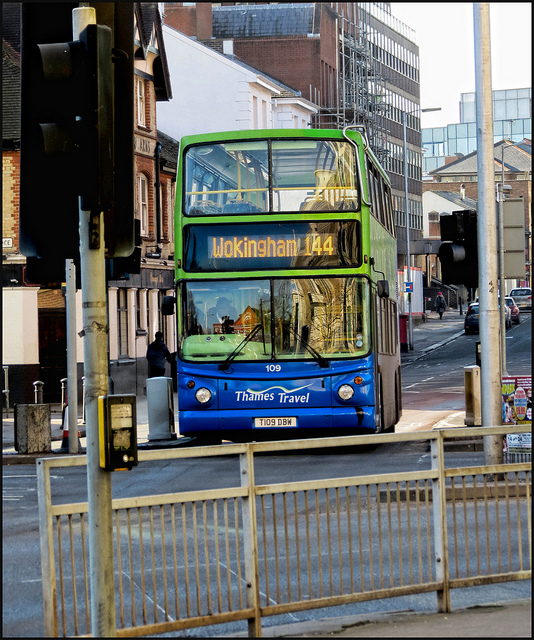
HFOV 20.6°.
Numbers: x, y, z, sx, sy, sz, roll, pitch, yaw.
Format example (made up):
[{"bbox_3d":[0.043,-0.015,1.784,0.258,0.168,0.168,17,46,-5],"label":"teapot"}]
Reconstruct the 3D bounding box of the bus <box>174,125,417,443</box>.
[{"bbox_3d":[0.503,-0.364,20.345,1.682,3.225,5.568,-1,-3,9],"label":"bus"}]

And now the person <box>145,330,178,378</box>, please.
[{"bbox_3d":[-2.201,0.958,30.942,0.464,1.367,0.441,0,-12,9],"label":"person"}]

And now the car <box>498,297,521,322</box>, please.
[{"bbox_3d":[8.765,-0.351,52.693,0.808,1.124,1.990,0,8,9],"label":"car"}]

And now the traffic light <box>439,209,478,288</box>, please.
[{"bbox_3d":[2.032,-0.805,15.191,0.247,0.635,0.312,4,4,9],"label":"traffic light"}]

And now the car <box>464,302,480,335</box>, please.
[{"bbox_3d":[8.673,-0.004,61.934,1.003,1.187,2.354,0,5,6],"label":"car"}]

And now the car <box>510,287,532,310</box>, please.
[{"bbox_3d":[12.460,-0.989,72.012,1.198,1.281,3.166,0,3,10],"label":"car"}]

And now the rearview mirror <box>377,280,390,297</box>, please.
[{"bbox_3d":[1.463,-0.386,18.397,0.164,0.309,0.026,-1,3,-15],"label":"rearview mirror"}]

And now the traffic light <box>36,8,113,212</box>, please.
[{"bbox_3d":[-0.991,-1.039,7.768,0.393,0.853,0.192,-4,-1,-10],"label":"traffic light"}]
